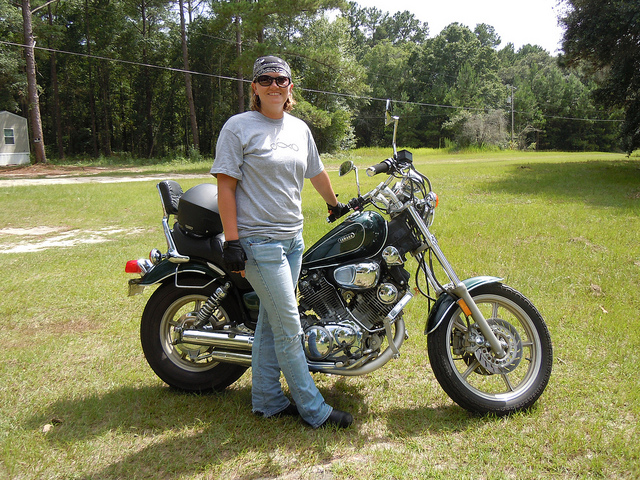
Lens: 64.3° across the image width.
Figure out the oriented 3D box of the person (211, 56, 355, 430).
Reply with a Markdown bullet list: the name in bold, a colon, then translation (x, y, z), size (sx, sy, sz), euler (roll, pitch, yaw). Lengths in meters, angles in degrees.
- **person**: translation (-0.406, 0.057, 4.802), size (1.148, 3.466, 0.828), euler (-2, 11, -13)

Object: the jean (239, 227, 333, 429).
- **jean**: translation (-0.407, 0.827, 5.194), size (0.919, 1.846, 0.989), euler (3, 8, -9)
